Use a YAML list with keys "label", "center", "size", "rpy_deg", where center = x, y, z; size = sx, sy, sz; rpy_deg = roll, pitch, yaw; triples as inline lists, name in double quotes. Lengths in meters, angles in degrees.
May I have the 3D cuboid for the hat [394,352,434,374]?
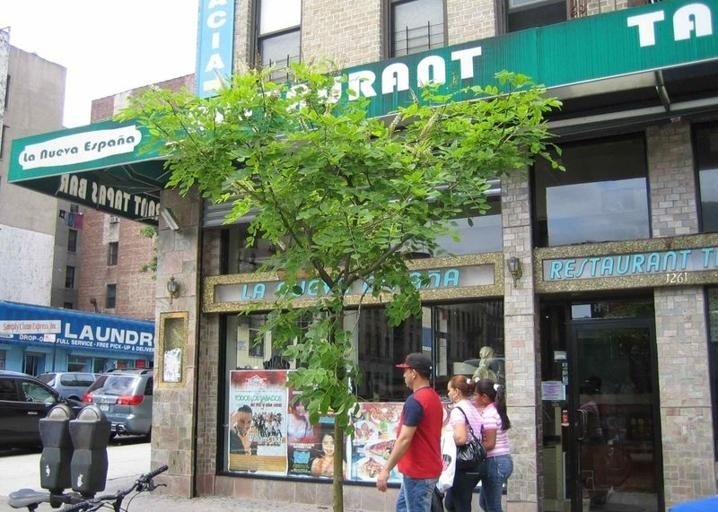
- label: "hat"
  center: [0.670, 1.330, 9.435]
  size: [0.485, 0.280, 0.344]
  rpy_deg: [-2, -16, 19]
